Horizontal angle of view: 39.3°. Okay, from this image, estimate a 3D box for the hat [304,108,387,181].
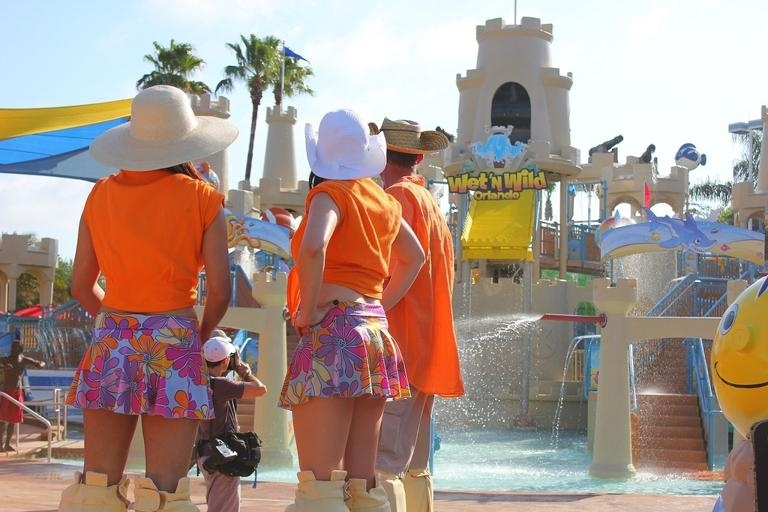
[{"bbox_3d":[-0.380,-1.221,10.780,0.947,0.470,1.128,-8,30,-11],"label":"hat"}]

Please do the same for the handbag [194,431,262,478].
[{"bbox_3d":[-1.723,2.133,11.538,0.451,0.277,0.569,8,-10,-41],"label":"handbag"}]

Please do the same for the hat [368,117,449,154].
[{"bbox_3d":[0.184,-1.281,11.638,1.032,0.294,0.917,0,5,8],"label":"hat"}]
